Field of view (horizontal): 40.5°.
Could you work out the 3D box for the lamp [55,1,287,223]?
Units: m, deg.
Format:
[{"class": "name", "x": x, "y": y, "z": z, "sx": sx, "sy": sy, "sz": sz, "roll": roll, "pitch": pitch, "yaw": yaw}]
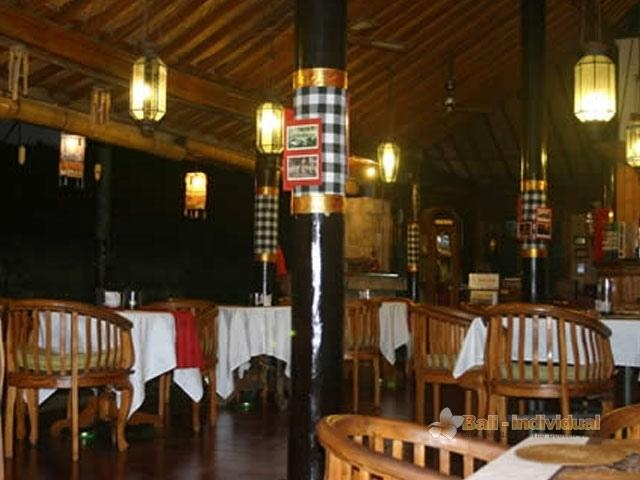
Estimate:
[{"class": "lamp", "x": -1.880, "y": -2.090, "z": 11.462, "sx": 2.528, "sy": 1.867, "sz": 5.217, "roll": 5, "pitch": 8, "yaw": 0}]
